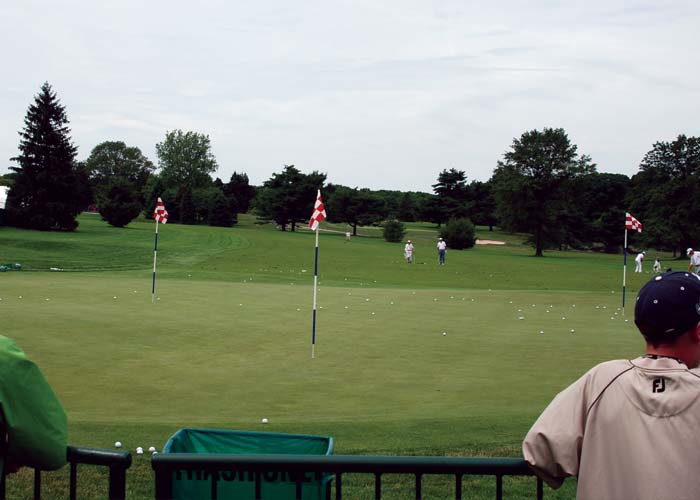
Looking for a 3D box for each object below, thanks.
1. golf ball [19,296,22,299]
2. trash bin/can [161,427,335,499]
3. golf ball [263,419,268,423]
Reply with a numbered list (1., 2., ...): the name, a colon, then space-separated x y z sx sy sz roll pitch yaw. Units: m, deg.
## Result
1. golf ball: -13.066 1.883 44.253 0.070 0.098 0.214 4 0 -33
2. trash bin/can: -2.729 5.750 29.663 4.333 1.707 2.480 1 13 -4
3. golf ball: -2.569 5.141 33.549 0.101 0.104 0.121 3 7 6
